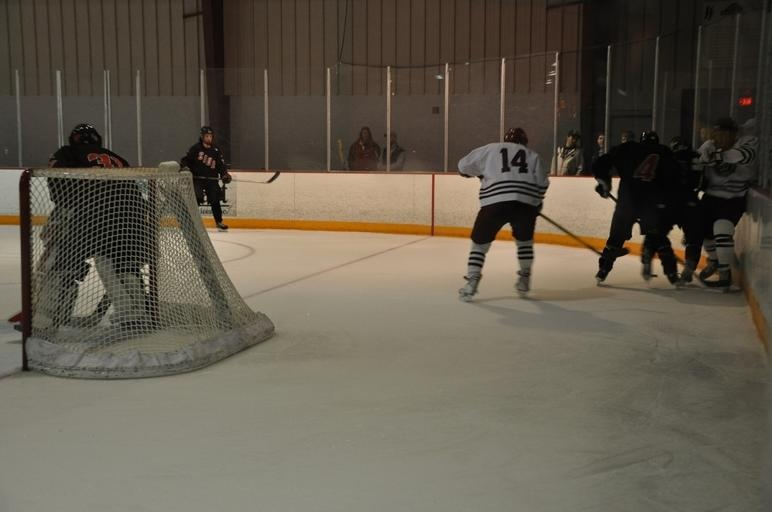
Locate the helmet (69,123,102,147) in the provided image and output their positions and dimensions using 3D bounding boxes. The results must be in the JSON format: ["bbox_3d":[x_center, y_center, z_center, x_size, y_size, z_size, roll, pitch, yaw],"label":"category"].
[{"bbox_3d":[-2.246,-0.933,4.831,0.189,0.154,0.268,-4,0,-20],"label":"helmet"}]

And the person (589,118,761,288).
[{"bbox_3d":[2.671,-0.444,6.003,1.326,1.404,0.580,6,13,25],"label":"person"}]

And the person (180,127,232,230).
[{"bbox_3d":[-2.755,-1.207,9.966,0.700,1.597,0.441,1,12,3],"label":"person"}]

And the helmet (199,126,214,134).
[{"bbox_3d":[-2.729,-1.925,9.770,0.162,0.132,0.159,-9,-18,-29],"label":"helmet"}]

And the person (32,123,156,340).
[{"bbox_3d":[-1.818,-0.012,4.016,0.651,0.928,0.425,-2,12,-12],"label":"person"}]

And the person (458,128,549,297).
[{"bbox_3d":[1.033,-0.400,5.628,0.742,1.555,0.759,2,-14,15],"label":"person"}]

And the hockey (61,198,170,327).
[{"bbox_3d":[-1.709,0.022,4.066,0.552,0.798,0.166,3,-1,-9],"label":"hockey"}]

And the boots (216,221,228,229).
[{"bbox_3d":[-2.569,-0.485,10.083,0.181,0.088,0.089,0,11,11],"label":"boots"}]

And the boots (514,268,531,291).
[{"bbox_3d":[1.210,0.211,5.711,0.167,0.286,0.162,2,-2,4],"label":"boots"}]

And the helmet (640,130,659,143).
[{"bbox_3d":[2.419,-1.094,5.886,0.129,0.087,0.152,8,14,31],"label":"helmet"}]
